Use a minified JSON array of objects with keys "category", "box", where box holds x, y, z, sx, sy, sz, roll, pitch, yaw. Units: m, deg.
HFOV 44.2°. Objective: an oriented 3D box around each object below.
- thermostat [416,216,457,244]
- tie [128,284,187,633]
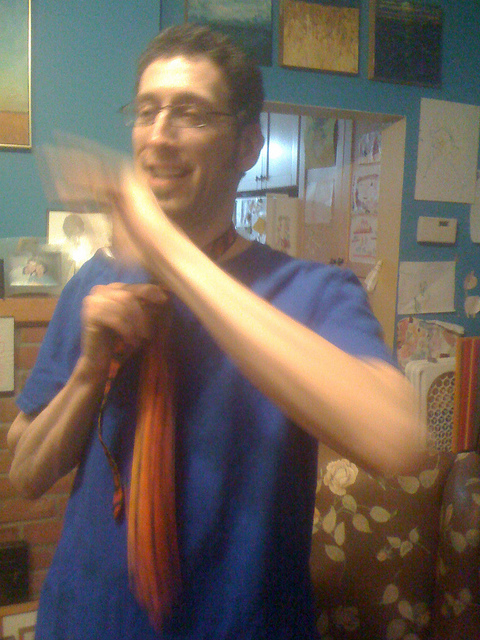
[{"category":"thermostat","box":[0.712,-0.329,2.146,0.186,0.093,0.039,-5,7,-33]},{"category":"tie","box":[-0.091,0.148,0.632,0.059,0.352,0.077,-1,6,-13]}]
